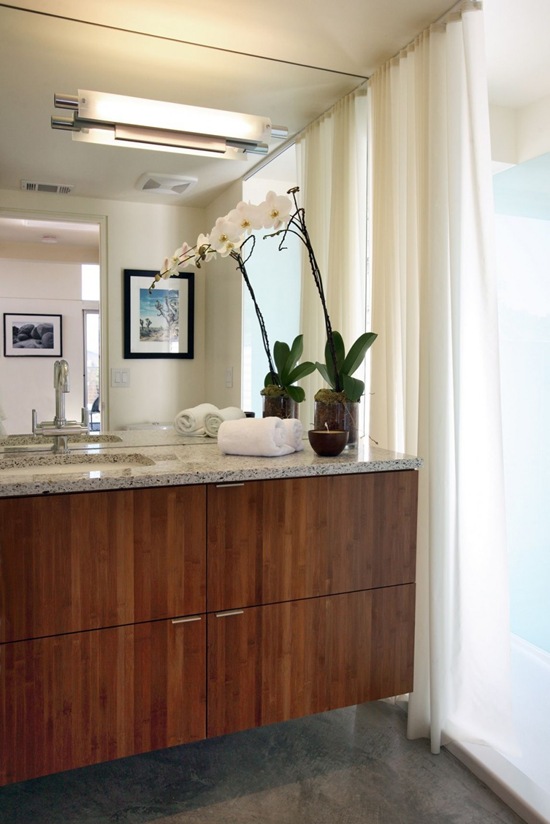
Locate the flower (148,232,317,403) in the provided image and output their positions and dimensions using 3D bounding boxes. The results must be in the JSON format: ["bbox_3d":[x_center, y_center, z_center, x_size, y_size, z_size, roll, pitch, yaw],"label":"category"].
[{"bbox_3d":[-0.134,-0.250,1.793,0.410,0.582,0.372,-18,25,-36],"label":"flower"}]

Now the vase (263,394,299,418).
[{"bbox_3d":[0.014,-0.013,1.757,0.060,0.061,0.070,1,-2,-29],"label":"vase"}]

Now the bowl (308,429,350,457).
[{"bbox_3d":[0.127,0.074,1.457,0.060,0.051,0.068,-1,0,17],"label":"bowl"}]

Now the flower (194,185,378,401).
[{"bbox_3d":[-0.020,-0.332,1.825,0.562,0.705,0.430,4,5,43],"label":"flower"}]

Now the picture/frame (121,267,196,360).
[{"bbox_3d":[-0.287,-0.229,1.468,0.190,0.279,0.013,0,-1,-44],"label":"picture/frame"}]

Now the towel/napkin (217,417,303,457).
[{"bbox_3d":[-0.008,0.060,1.523,0.258,0.094,0.156,0,0,-40],"label":"towel/napkin"}]
